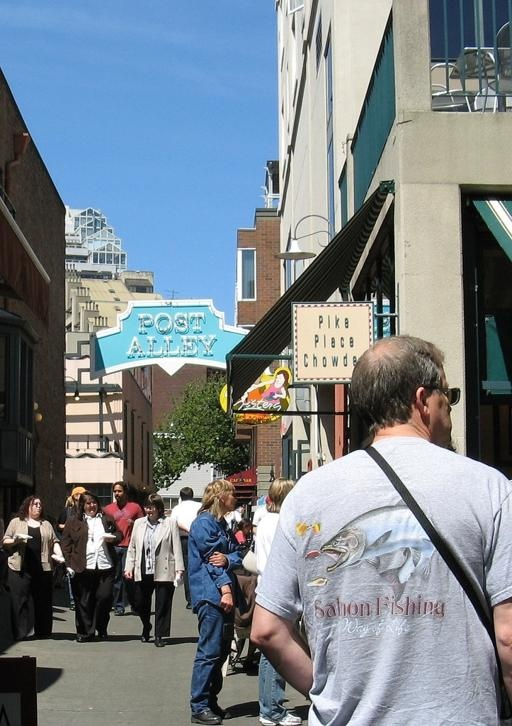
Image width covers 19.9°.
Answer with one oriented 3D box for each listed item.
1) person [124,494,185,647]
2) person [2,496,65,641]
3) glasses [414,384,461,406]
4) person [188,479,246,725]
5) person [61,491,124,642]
[{"bbox_3d":[-0.913,1.910,13.591,0.460,1.303,0.840,-7,-2,-23],"label":"person"},{"bbox_3d":[-2.155,1.975,14.040,0.464,1.260,0.899,-9,-1,25],"label":"person"},{"bbox_3d":[0.540,0.092,4.389,0.092,0.039,0.106,1,-6,10],"label":"glasses"},{"bbox_3d":[-0.280,1.524,9.428,0.411,1.478,0.622,-8,-1,3],"label":"person"},{"bbox_3d":[-1.624,1.954,14.069,0.423,1.296,0.741,-9,-1,30],"label":"person"}]
